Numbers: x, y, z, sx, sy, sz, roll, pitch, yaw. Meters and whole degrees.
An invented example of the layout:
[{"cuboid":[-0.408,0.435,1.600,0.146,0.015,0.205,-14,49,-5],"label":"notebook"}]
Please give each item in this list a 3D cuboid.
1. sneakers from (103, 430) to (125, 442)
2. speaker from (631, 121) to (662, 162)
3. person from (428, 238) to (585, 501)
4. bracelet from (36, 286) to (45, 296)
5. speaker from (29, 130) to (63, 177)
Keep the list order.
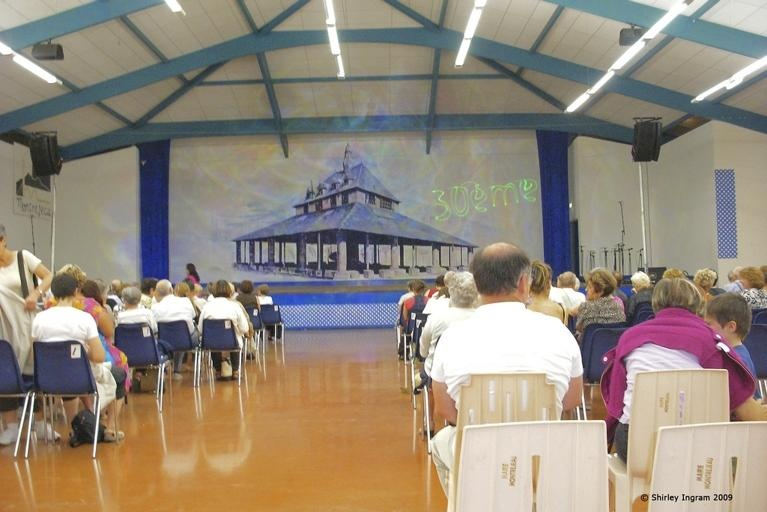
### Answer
[{"cuboid":[-3.056,2.016,7.636,0.126,0.080,0.174,4,-11,-32],"label":"sneakers"},{"cuboid":[5.353,-2.332,13.776,0.480,0.751,0.157,1,12,8],"label":"speaker"},{"cuboid":[1.025,0.984,5.721,1.238,2.127,0.551,-1,11,-1],"label":"person"},{"cuboid":[-3.823,0.390,7.540,0.057,0.088,0.082,-1,6,-24],"label":"bracelet"},{"cuboid":[-6.805,-2.043,13.602,0.519,0.839,0.416,-7,13,-28],"label":"speaker"}]
